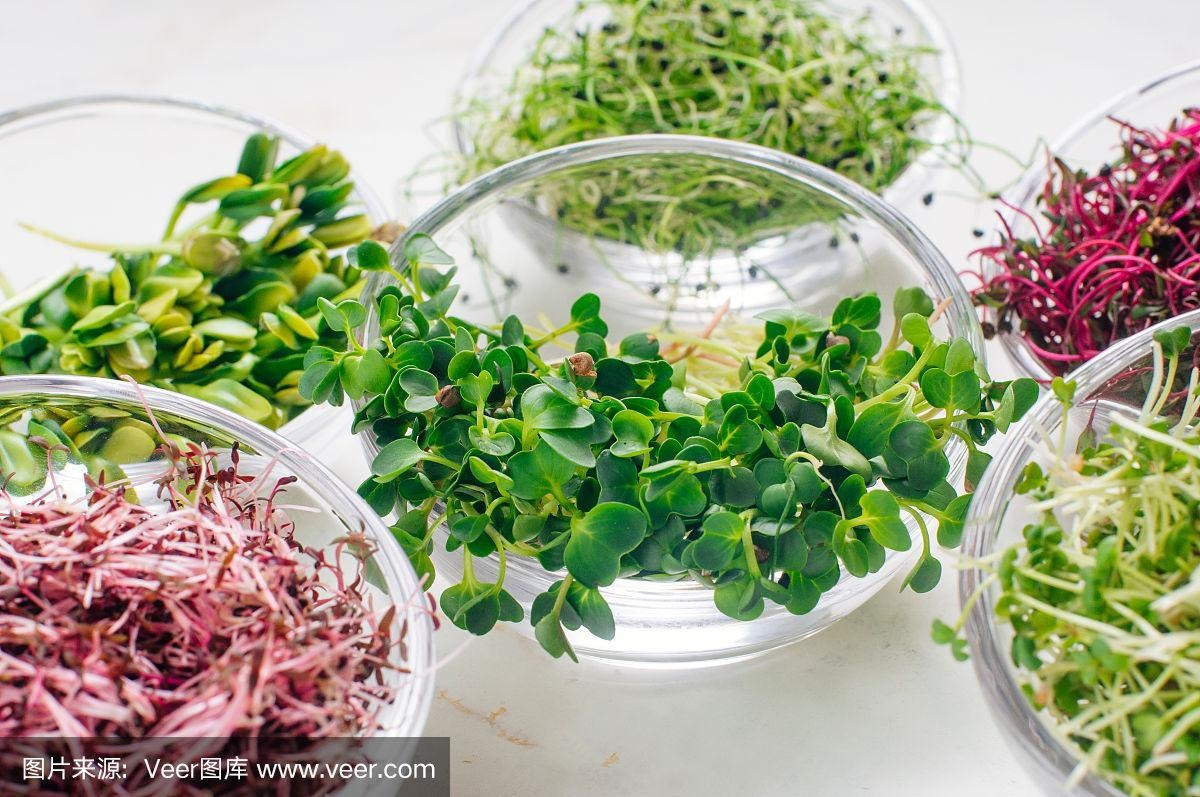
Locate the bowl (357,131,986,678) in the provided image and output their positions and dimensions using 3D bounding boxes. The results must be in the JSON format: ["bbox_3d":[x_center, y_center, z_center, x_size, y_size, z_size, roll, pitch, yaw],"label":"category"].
[{"bbox_3d":[0.067,-0.010,1.004,0.535,0.481,0.376,-1,4,2],"label":"bowl"}]

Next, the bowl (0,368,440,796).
[{"bbox_3d":[-0.308,0.123,0.829,0.394,0.285,0.082,0,5,21],"label":"bowl"}]
